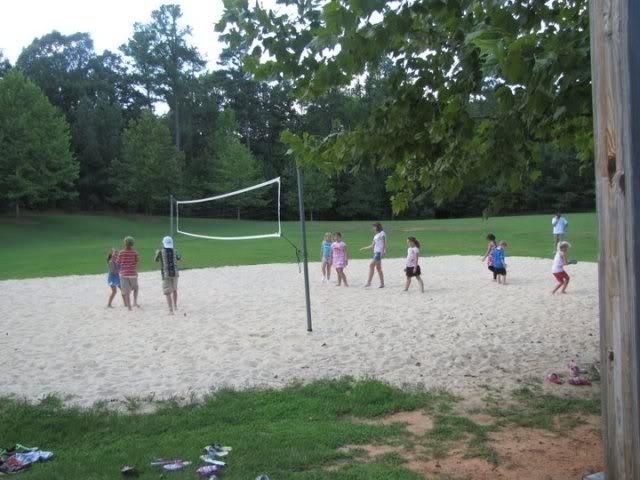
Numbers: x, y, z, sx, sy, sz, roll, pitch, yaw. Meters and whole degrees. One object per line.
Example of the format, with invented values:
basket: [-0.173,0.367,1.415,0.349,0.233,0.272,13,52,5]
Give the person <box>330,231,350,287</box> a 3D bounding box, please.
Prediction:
person: [0.459,0.468,16.518,0.341,1.099,0.791,-3,1,-1]

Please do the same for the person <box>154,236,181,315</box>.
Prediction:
person: [-3.003,0.674,13.772,0.449,1.418,1.464,-3,1,-12]

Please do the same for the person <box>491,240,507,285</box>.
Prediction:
person: [4.278,0.533,16.598,0.338,0.758,0.995,-3,1,14]

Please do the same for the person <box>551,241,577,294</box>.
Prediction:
person: [5.783,0.692,16.429,0.594,1.130,0.361,-8,43,14]

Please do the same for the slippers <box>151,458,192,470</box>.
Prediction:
slippers: [-1.500,2.265,6.976,0.230,0.053,0.151,2,-4,4]

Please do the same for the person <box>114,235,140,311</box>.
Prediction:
person: [-3.952,0.669,14.263,0.406,1.429,1.540,-3,1,-15]
